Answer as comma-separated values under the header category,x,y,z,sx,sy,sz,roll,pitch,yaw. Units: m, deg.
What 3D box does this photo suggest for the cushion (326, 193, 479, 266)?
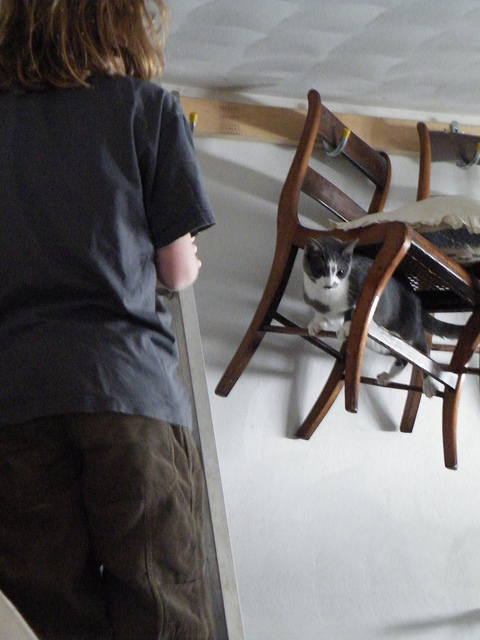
category,x,y,z,sx,sy,sz,roll,pitch,yaw
cushion,0.432,-0.208,1.645,0.191,0.082,0.222,17,-31,-38

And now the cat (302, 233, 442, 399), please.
category,x,y,z,sx,sy,sz,roll,pitch,yaw
cat,0.310,-0.032,1.567,0.330,0.325,0.137,12,-5,-19
